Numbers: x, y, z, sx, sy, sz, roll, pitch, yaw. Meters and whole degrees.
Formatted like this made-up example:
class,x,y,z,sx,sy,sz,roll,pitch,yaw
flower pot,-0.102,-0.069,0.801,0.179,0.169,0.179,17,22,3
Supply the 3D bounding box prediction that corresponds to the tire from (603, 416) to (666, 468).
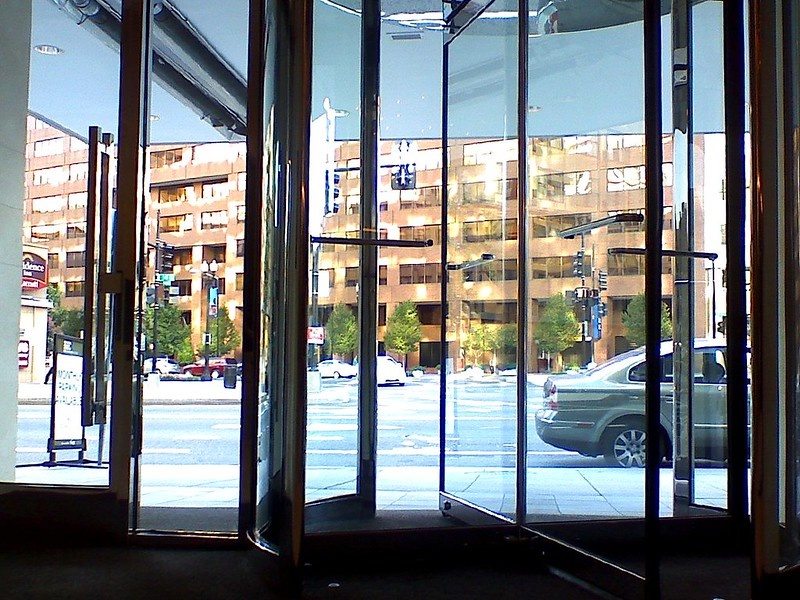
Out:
class,x,y,z,sx,sy,sz,roll,pitch,yaw
tire,1.096,0.670,4.249,0.250,0.274,0.093,6,24,23
